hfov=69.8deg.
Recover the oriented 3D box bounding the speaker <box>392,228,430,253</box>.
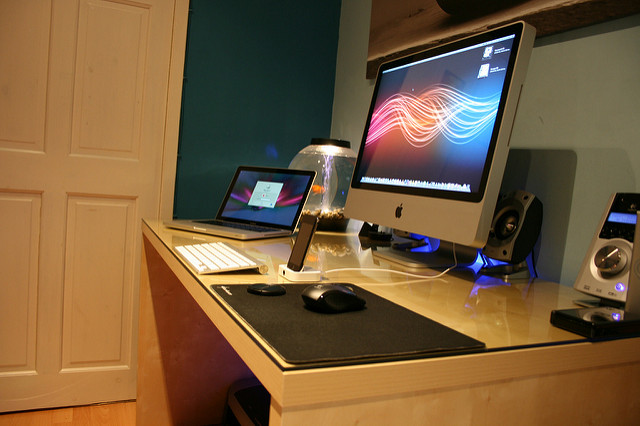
[{"bbox_3d":[0.356,0.107,1.822,0.131,0.061,0.092,3,-2,-22],"label":"speaker"}]
